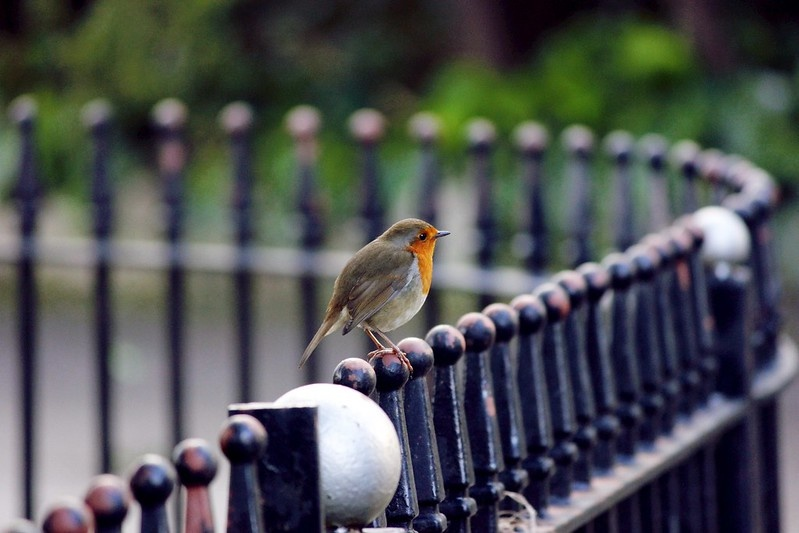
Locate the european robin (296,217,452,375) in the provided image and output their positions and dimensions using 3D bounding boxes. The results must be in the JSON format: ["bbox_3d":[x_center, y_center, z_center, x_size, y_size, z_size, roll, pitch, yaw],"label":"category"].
[{"bbox_3d":[-0.105,0.111,10.546,0.758,0.803,0.451,1,-13,1],"label":"european robin"}]
